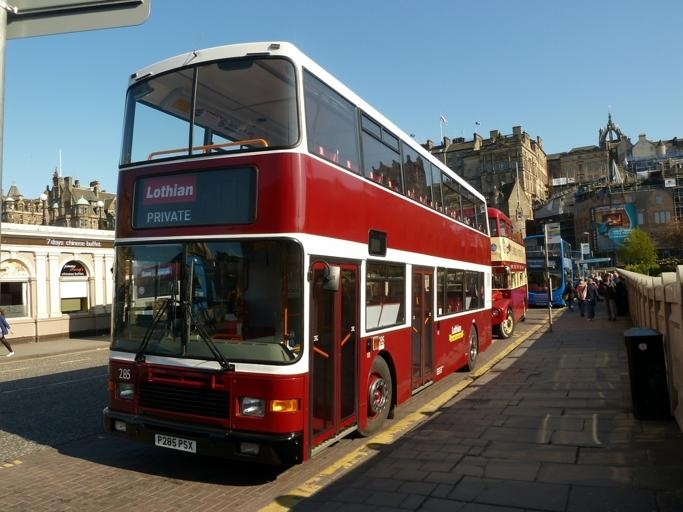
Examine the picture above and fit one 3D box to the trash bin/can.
[{"bbox_3d":[5.278,2.062,9.685,0.640,1.651,0.410,-2,0,23],"label":"trash bin/can"}]
